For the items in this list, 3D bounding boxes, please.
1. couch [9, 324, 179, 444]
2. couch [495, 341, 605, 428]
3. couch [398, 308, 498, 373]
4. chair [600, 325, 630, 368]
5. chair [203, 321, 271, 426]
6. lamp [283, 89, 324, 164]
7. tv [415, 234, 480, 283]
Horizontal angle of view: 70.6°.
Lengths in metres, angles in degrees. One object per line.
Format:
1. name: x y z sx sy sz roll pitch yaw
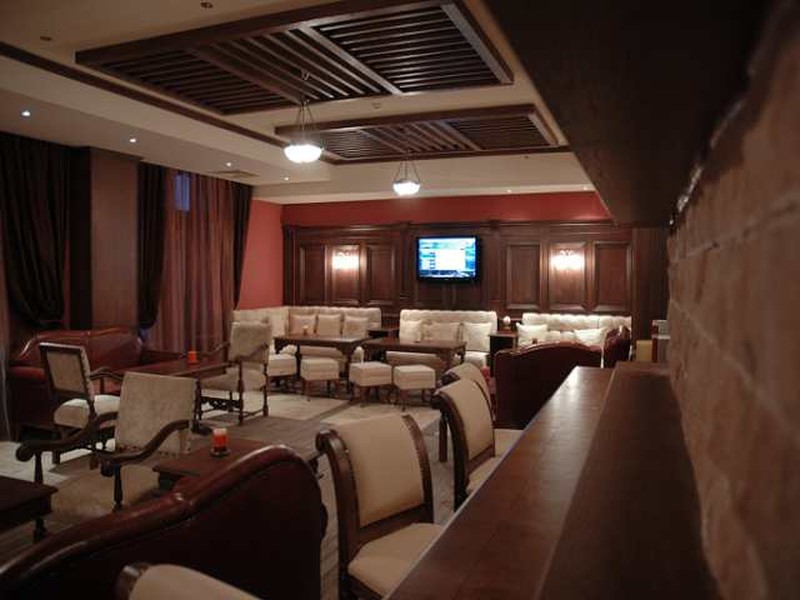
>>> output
1. couch: -2.776 0.725 4.900 0.383 0.599 1.091 3 4 15
2. couch: 1.306 0.643 4.863 0.710 0.985 0.734 2 -2 24
3. couch: 0.607 0.672 8.933 1.744 1.112 0.862 1 -1 27
4. chair: 2.084 0.453 5.452 0.252 0.437 0.448 1 -1 27
5. chair: -1.938 0.833 6.587 0.738 1.086 0.725 1 1 29
6. lamp: -0.968 -1.732 5.603 0.329 0.573 0.336 -1 23 -14
7. tv: 0.823 -0.675 9.274 0.767 0.577 0.104 1 -1 18
